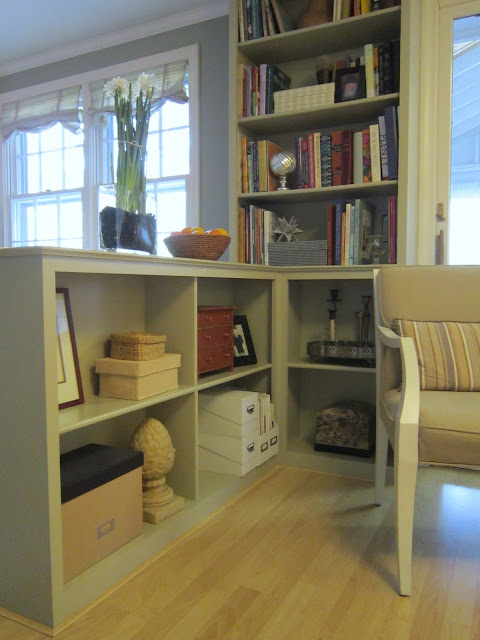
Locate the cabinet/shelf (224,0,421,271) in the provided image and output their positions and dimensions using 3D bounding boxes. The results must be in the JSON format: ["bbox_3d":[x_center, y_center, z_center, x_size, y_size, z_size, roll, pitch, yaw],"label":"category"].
[{"bbox_3d":[0.389,-0.880,2.368,0.859,1.265,0.362,0,1,32],"label":"cabinet/shelf"}]

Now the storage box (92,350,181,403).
[{"bbox_3d":[-0.317,0.126,1.527,0.118,0.103,0.208,2,4,24],"label":"storage box"}]

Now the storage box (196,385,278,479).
[{"bbox_3d":[0.021,0.392,2.131,0.266,0.381,0.378,0,3,23],"label":"storage box"}]

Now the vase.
[{"bbox_3d":[-0.359,-0.309,1.624,0.119,0.171,0.226,2,3,30],"label":"vase"}]
